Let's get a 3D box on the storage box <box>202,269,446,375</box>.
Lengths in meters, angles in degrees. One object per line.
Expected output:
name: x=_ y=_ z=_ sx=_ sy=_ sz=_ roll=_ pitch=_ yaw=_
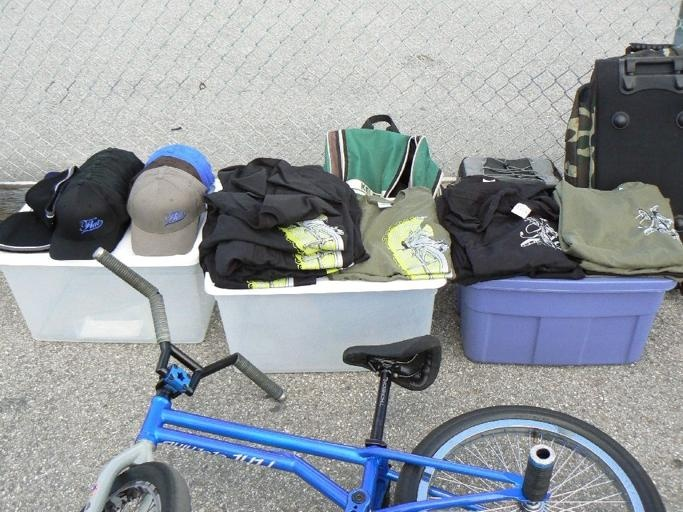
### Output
storage box: x=-0.055 y=0.234 z=2.093 sx=0.663 sy=0.286 sz=0.424 roll=-1 pitch=34 yaw=-1

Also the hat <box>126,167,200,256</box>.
hat: x=-0.666 y=-0.153 z=2.101 sx=0.253 sy=0.135 sz=0.331 roll=0 pitch=71 yaw=-6

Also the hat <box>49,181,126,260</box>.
hat: x=-0.980 y=-0.137 z=2.142 sx=0.288 sy=0.213 sz=0.266 roll=-7 pitch=47 yaw=9

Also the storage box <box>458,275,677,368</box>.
storage box: x=0.824 y=0.241 z=2.110 sx=0.564 sy=0.264 sz=0.426 roll=0 pitch=20 yaw=4
